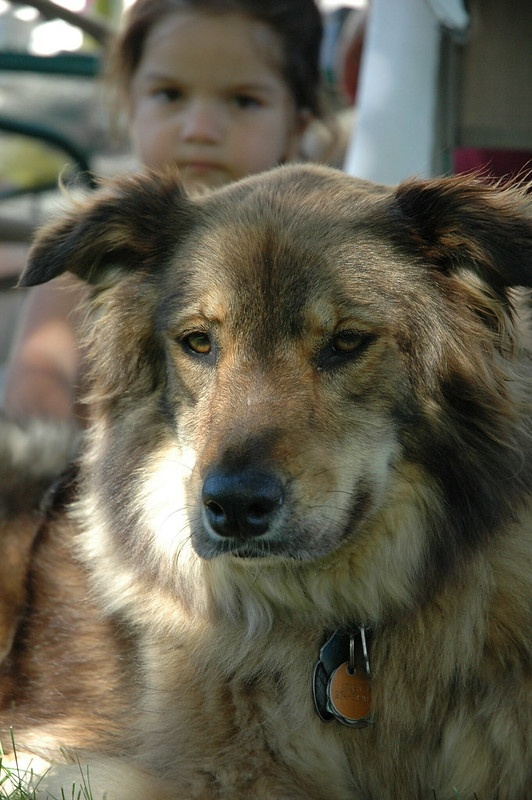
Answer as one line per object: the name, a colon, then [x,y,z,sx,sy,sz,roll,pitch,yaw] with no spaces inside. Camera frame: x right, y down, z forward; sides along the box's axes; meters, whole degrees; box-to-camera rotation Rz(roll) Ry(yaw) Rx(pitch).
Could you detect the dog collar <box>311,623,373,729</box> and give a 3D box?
dog collar: [0.201,0.717,2.200,0.175,0.071,0.217,15,47,2]
